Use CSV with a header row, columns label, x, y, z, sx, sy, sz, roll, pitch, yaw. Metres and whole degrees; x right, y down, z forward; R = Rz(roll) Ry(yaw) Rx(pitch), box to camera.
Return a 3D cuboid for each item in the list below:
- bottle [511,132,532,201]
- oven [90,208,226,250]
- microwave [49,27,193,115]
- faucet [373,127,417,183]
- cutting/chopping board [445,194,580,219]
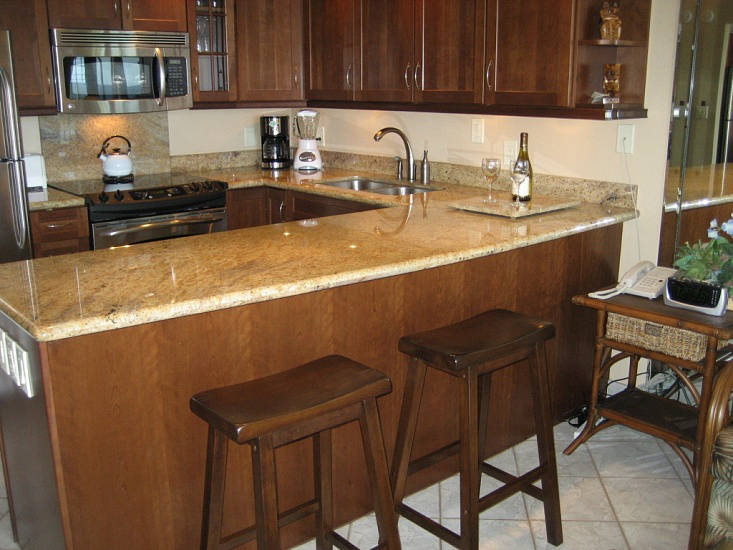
label,x,y,z,sx,sy,sz,roll,pitch,yaw
bottle,0.802,-0.562,3.124,0.090,0.343,0.232,2,18,17
oven,-1.283,-0.296,3.731,0.768,0.262,0.601,-12,23,-38
microwave,-1.651,-1.164,4.005,0.879,0.546,0.551,-11,24,-34
faucet,0.192,-0.812,4.025,0.252,0.357,0.666,-2,17,4
cutting/chopping board,0.785,-0.343,3.061,0.689,0.065,0.363,-5,17,-6
